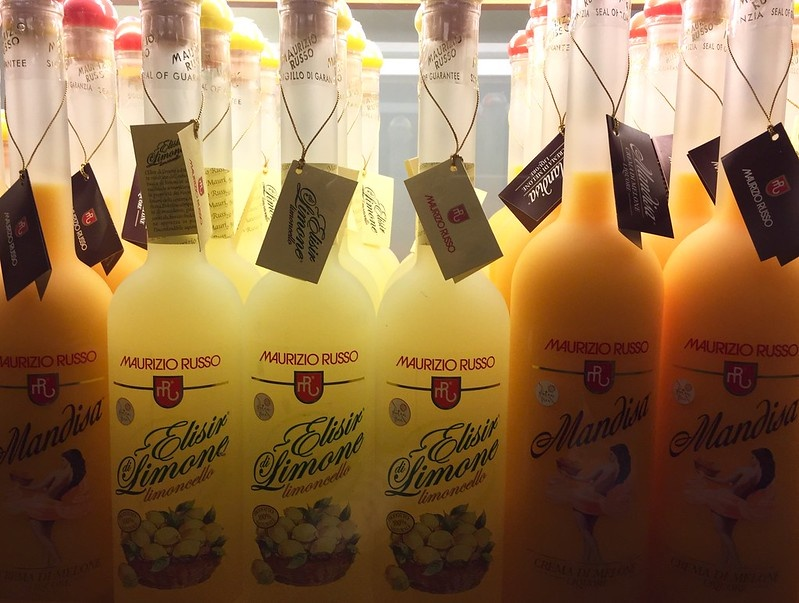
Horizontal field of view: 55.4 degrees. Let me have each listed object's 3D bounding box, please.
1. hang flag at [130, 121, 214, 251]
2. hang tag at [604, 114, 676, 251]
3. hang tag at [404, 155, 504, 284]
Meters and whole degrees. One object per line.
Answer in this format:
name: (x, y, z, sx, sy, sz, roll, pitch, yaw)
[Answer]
hang flag: (-0.349, -0.181, 1.121, 0.046, 0.147, 0.136, 8, 11, 30)
hang tag: (0.364, -0.172, 1.158, 0.169, 0.255, 0.027, 22, -34, -36)
hang tag: (0.078, -0.126, 1.092, 0.107, 0.164, 0.034, -23, 24, 21)
